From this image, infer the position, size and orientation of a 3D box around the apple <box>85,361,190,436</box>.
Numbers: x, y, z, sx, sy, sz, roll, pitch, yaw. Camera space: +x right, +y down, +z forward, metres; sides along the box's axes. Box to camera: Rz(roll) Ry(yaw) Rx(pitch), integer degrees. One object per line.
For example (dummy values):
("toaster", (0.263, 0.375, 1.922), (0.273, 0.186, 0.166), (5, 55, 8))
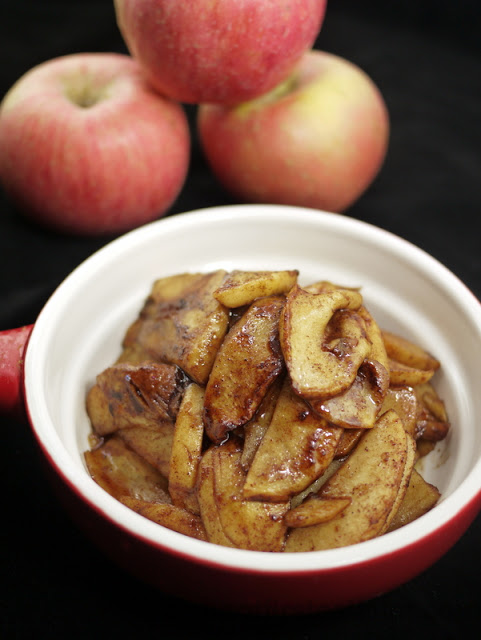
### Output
("apple", (-0.138, 0.124, 0.956), (0.204, 0.065, 0.123), (2, 89, 23))

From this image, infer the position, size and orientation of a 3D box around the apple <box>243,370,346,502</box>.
("apple", (0.073, 0.144, 0.844), (0.104, 0.034, 0.199), (23, 52, 8))

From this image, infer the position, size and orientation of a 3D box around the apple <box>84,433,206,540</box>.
("apple", (-0.127, 0.215, 0.925), (0.054, 0.185, 0.102), (11, 60, 48))
